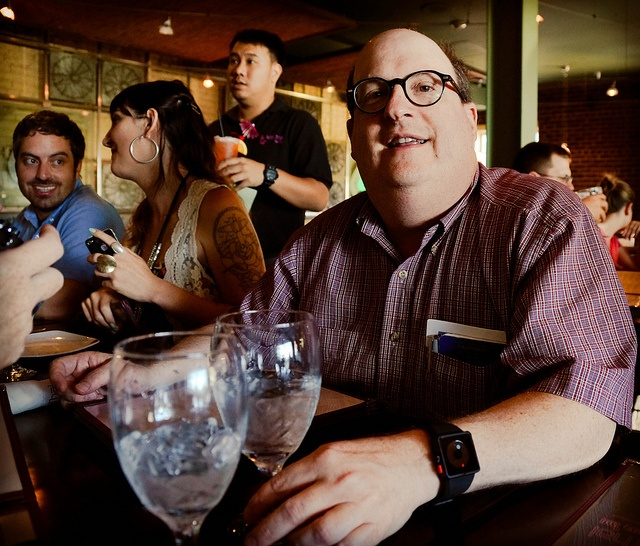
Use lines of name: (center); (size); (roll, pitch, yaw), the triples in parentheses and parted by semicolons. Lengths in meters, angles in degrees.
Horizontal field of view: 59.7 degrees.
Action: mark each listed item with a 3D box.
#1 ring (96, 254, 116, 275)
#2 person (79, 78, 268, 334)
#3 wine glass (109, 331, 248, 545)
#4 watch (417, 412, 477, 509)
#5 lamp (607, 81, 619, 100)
ring: (-0.695, -0.029, 1.798); (0.058, 0.059, 0.014); (5, 3, 16)
person: (-0.605, -0.237, 2.232); (0.683, 1.041, 0.826); (-1, 3, -36)
wine glass: (-0.142, 0.180, 0.633); (0.129, 0.232, 0.154); (5, 8, 31)
watch: (0.191, 0.267, 0.801); (0.065, 0.100, 0.093); (11, -32, -13)
lamp: (4.433, -2.772, 8.447); (0.177, 0.321, 0.280); (3, 2, 28)
